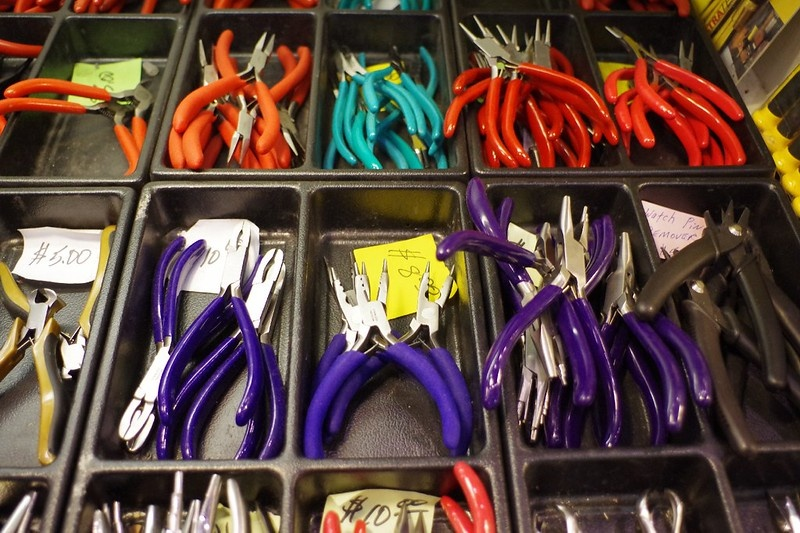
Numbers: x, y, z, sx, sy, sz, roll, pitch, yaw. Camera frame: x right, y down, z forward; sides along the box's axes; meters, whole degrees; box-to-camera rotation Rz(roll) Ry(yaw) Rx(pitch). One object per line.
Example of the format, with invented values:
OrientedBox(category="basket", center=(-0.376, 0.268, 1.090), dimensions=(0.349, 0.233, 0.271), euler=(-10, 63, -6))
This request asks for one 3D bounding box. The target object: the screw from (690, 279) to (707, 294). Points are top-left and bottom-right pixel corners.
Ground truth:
OrientedBox(category="screw", center=(0.631, 0.042, 1.454), dimensions=(0.026, 0.030, 0.008), euler=(-8, -22, -12))
